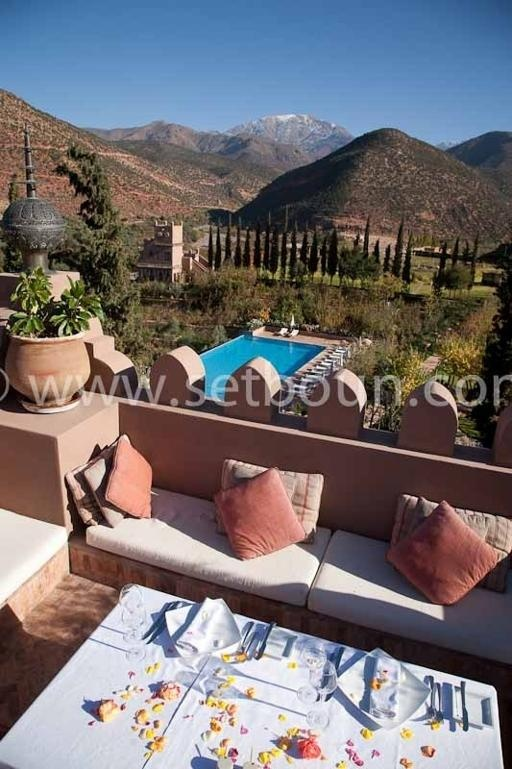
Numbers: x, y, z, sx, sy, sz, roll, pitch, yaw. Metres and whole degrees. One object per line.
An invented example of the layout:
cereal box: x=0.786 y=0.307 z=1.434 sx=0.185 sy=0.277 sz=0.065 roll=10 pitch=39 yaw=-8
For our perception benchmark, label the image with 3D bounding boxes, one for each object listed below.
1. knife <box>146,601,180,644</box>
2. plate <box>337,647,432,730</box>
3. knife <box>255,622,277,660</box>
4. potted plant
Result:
knife: x=-0.372 y=0.941 z=1.978 sx=0.048 sy=0.010 sz=0.174 roll=11 pitch=19 yaw=16
plate: x=0.413 y=1.021 z=1.661 sx=0.148 sy=0.040 sz=0.158 roll=17 pitch=27 yaw=36
knife: x=0.030 y=0.977 z=1.894 sx=0.027 sy=0.035 sz=0.124 roll=5 pitch=28 yaw=7
potted plant: x=-1.244 y=-0.268 z=3.065 sx=0.532 sy=0.861 sz=0.505 roll=-7 pitch=13 yaw=-41
